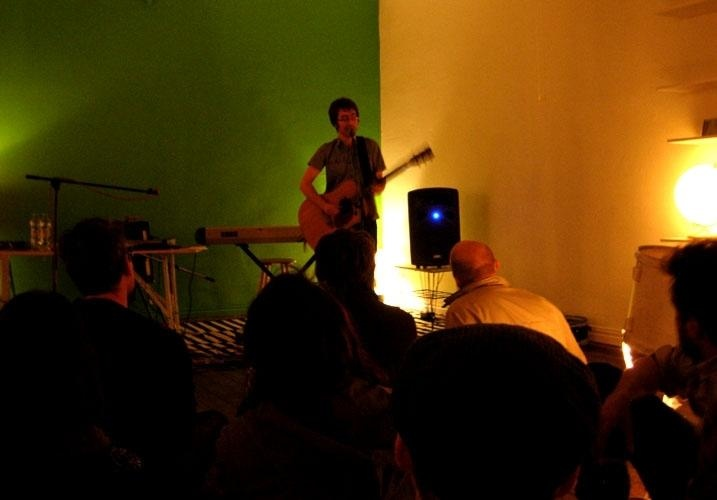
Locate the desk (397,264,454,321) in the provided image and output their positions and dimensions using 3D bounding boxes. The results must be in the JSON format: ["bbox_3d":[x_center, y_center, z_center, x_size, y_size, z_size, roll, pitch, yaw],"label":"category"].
[{"bbox_3d":[0.632,0.404,5.902,0.502,0.491,0.497,1,-2,-30],"label":"desk"}]

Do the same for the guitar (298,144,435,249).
[{"bbox_3d":[0.032,-0.351,4.500,1.230,0.525,0.171,-33,-19,8],"label":"guitar"}]

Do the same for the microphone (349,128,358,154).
[{"bbox_3d":[-0.037,-0.828,4.441,0.029,0.125,0.088,1,7,-13],"label":"microphone"}]
